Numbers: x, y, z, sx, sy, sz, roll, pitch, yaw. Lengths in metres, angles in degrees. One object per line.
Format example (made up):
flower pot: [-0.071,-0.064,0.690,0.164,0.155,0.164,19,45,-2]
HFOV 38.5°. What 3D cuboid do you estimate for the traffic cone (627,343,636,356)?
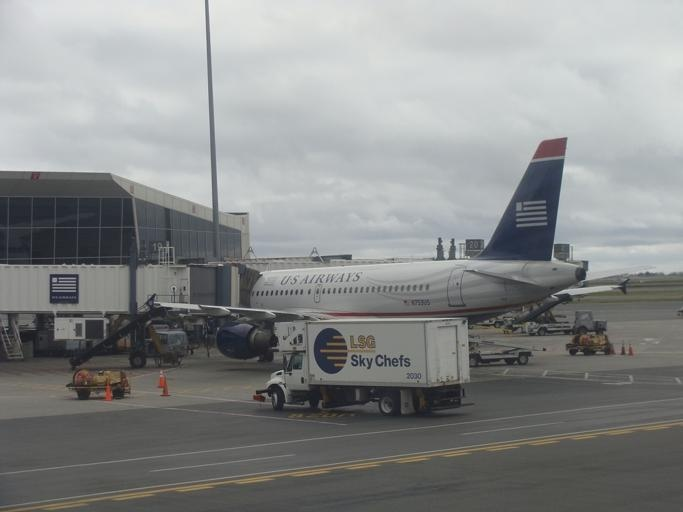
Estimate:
traffic cone: [16.731,5.386,56.833,0.593,0.617,0.522,0,-3,-10]

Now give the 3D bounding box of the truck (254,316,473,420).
truck: [1.057,3.919,34.883,7.979,3.055,3.256,-6,-9,42]

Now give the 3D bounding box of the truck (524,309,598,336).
truck: [16.662,5.198,73.979,5.252,1.373,2.075,-2,-1,6]

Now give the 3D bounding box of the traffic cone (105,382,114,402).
traffic cone: [-9.019,5.237,38.124,0.296,0.692,0.861,2,-4,-13]
